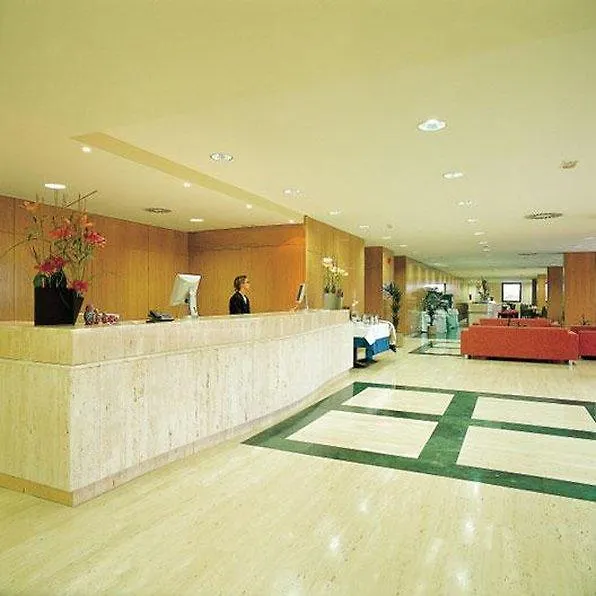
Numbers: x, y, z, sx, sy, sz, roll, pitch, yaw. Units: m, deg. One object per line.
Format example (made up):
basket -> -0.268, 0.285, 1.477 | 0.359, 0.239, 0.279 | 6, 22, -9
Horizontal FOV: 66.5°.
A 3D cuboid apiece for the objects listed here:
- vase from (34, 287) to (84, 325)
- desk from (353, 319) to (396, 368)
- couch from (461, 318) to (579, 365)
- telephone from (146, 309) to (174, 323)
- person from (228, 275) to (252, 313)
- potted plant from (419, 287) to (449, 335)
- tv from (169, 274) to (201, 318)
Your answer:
vase -> -1.729, 0.064, 3.269 | 0.274, 0.280, 0.253 | 2, 2, -16
desk -> 1.351, 0.793, 8.701 | 0.757, 0.581, 1.033 | -2, -2, 25
couch -> 4.850, 0.954, 9.877 | 2.117, 0.786, 2.233 | 1, 1, 39
telephone -> -1.151, 0.153, 3.836 | 0.205, 0.092, 0.604 | 0, 1, -17
person -> -0.753, -0.031, 5.908 | 0.242, 0.501, 1.006 | 0, 1, -7
potted plant -> 5.208, 0.669, 18.141 | 1.155, 2.089, 1.240 | -13, -9, 30
tv -> -0.977, -0.017, 4.117 | 0.156, 0.388, 0.296 | 9, 4, 30
